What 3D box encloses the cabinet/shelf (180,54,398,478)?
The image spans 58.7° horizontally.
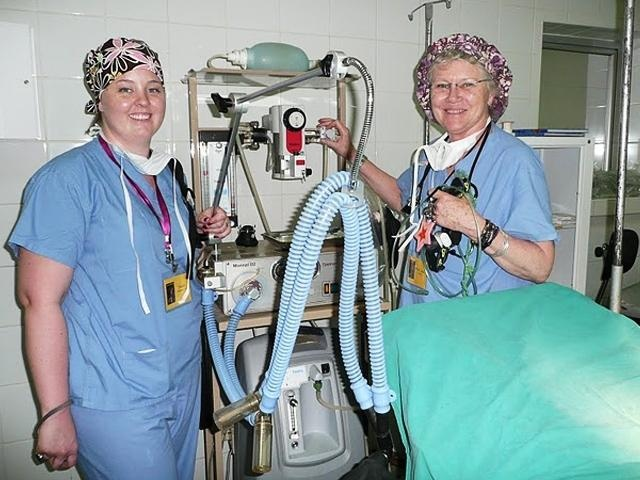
[{"bbox_3d":[-0.075,0.172,1.403,0.425,1.185,0.654,-4,11,-11],"label":"cabinet/shelf"}]

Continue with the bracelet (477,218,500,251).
[{"bbox_3d":[0.491,-0.014,1.649,0.034,0.081,0.060,20,16,-17],"label":"bracelet"}]
